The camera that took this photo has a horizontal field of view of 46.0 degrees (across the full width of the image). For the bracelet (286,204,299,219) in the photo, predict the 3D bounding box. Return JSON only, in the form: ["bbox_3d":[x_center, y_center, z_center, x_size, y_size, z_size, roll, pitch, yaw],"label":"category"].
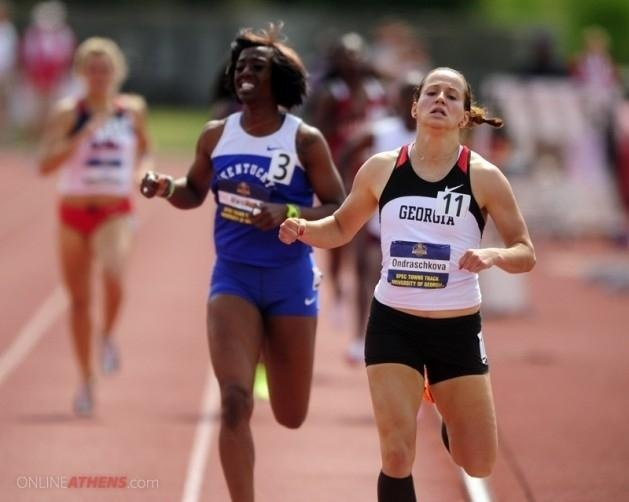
[{"bbox_3d":[-0.120,-0.207,3.918,0.073,0.098,0.051,4,-10,-19],"label":"bracelet"}]

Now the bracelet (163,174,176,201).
[{"bbox_3d":[-0.768,-0.353,4.053,0.078,0.111,0.100,3,-8,-5],"label":"bracelet"}]

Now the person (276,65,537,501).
[{"bbox_3d":[0.543,0.176,3.726,0.753,2.156,0.911,-5,13,-33],"label":"person"}]
